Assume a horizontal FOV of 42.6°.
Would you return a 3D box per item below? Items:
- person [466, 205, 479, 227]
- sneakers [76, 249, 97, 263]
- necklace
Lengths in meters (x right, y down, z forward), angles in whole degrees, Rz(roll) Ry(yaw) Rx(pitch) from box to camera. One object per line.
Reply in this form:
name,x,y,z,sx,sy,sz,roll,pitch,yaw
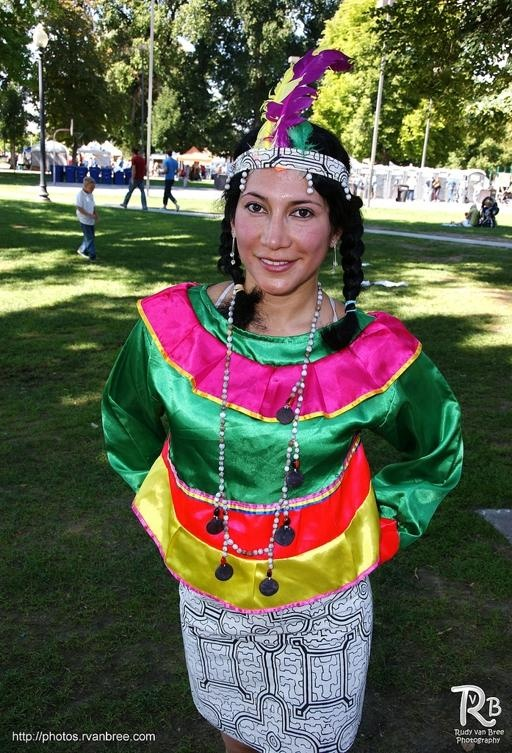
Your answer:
person,7.959,-6.074,24.033,0.489,0.820,1.047,5,13,17
sneakers,-2.988,-2.206,11.573,0.414,0.155,0.140,35,38,12
necklace,0.026,0.106,1.386,0.213,0.586,0.390,2,12,5
